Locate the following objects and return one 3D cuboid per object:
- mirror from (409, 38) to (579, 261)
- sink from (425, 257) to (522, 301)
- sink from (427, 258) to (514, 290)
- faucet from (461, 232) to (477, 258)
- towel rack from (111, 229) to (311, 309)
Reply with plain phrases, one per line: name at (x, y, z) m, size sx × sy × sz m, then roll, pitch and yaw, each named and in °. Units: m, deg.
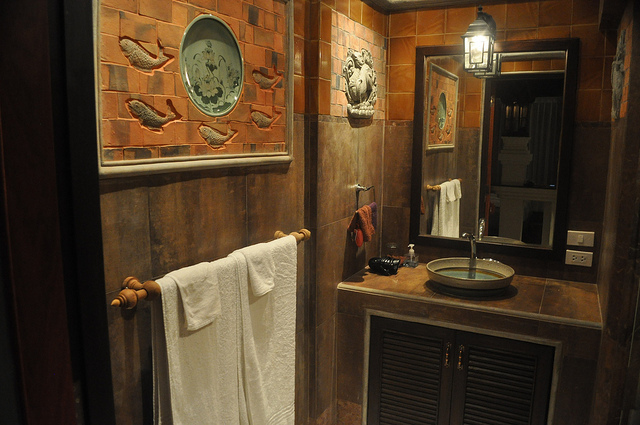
mirror at (0.999, -0.367, 3.026) m, size 0.905 × 1.245 × 0.070 m, roll 4°, pitch 10°, yaw 23°
sink at (0.838, 0.353, 2.876) m, size 0.499 × 0.164 × 0.468 m, roll -6°, pitch 11°, yaw -29°
sink at (0.839, 0.333, 2.869) m, size 0.461 × 0.116 × 0.416 m, roll 4°, pitch 11°, yaw 23°
faucet at (0.887, 0.209, 3.026) m, size 0.098 × 0.176 × 0.254 m, roll 2°, pitch 10°, yaw 16°
towel rack at (-0.383, 0.220, 2.117) m, size 1.011 × 0.142 × 0.272 m, roll -9°, pitch 13°, yaw -40°
